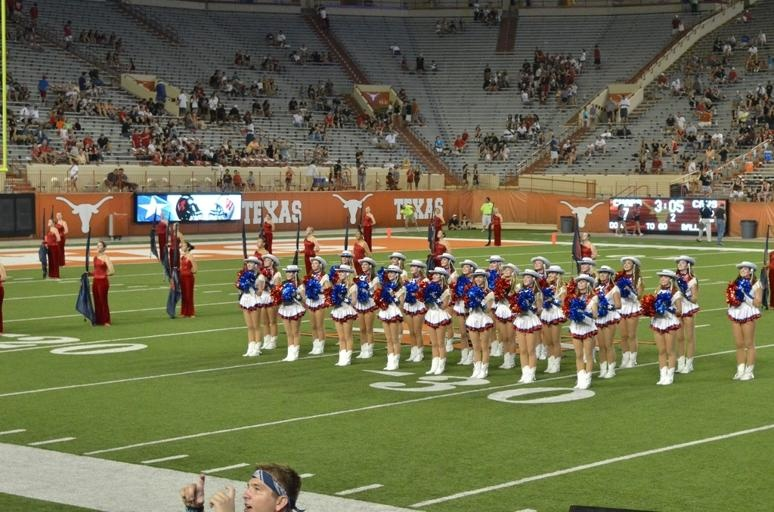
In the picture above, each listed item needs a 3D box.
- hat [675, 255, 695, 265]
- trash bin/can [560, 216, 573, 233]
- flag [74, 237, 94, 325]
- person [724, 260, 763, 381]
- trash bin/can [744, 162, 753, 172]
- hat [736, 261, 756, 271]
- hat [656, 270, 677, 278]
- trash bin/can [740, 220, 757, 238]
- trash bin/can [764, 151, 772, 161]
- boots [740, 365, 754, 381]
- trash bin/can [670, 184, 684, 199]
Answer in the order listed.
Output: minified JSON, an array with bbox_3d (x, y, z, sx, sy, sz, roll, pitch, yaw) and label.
[{"bbox_3d":[5.923,0.044,23.974,0.360,0.137,0.370,6,-4,-21],"label":"hat"},{"bbox_3d":[7.815,-1.413,51.988,0.650,0.949,0.658,1,3,12],"label":"trash bin/can"},{"bbox_3d":[-7.071,0.504,28.276,0.450,2.199,0.435,2,-1,-12],"label":"flag"},{"bbox_3d":[6.981,1.261,23.560,0.645,2.275,0.966,3,11,16],"label":"person"},{"bbox_3d":[15.310,-3.787,50.678,0.317,0.400,0.172,0,-3,25],"label":"trash bin/can"},{"bbox_3d":[7.669,0.204,25.630,0.306,0.141,0.362,2,-5,36],"label":"hat"},{"bbox_3d":[5.551,0.333,23.631,0.293,0.097,0.250,9,-4,-24],"label":"hat"},{"bbox_3d":[14.483,-1.085,47.944,0.656,0.695,0.669,2,-2,-24],"label":"trash bin/can"},{"bbox_3d":[16.140,-4.252,50.786,0.312,0.456,0.349,2,10,11],"label":"trash bin/can"},{"bbox_3d":[7.110,2.287,23.611,0.389,0.268,0.166,-5,3,-41],"label":"boots"},{"bbox_3d":[12.272,-2.764,50.662,0.625,0.616,0.619,0,-2,-5],"label":"trash bin/can"}]
